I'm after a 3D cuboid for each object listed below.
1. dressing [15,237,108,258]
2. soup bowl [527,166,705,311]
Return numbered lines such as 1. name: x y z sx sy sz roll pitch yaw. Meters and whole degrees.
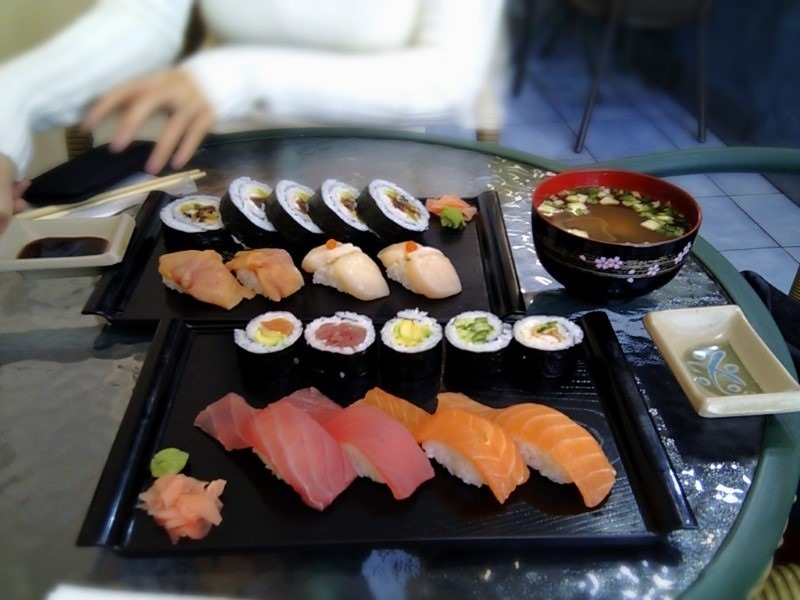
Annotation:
1. dressing: -0.991 -0.157 1.728 0.168 0.022 0.098 0 33 -2
2. soup bowl: 0.557 -0.139 1.666 0.476 0.235 0.398 -9 35 -5
